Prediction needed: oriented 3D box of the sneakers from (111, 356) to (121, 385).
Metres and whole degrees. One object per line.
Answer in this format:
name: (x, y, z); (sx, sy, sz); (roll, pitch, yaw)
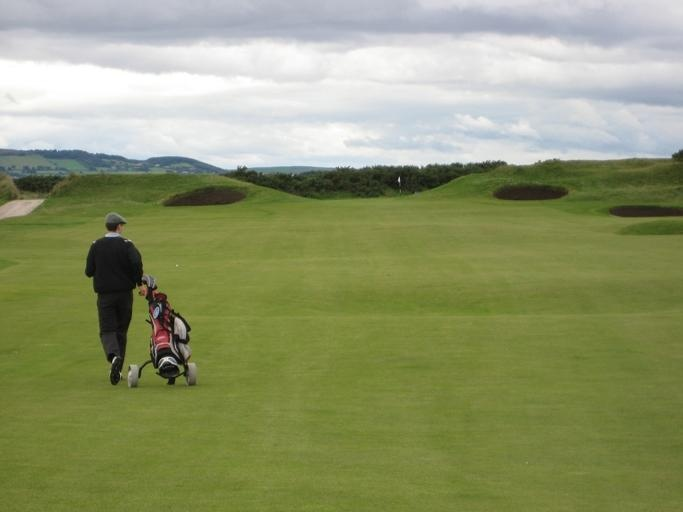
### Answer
sneakers: (-4.050, 2.029, 20.993); (0.186, 0.464, 0.234); (5, -7, -22)

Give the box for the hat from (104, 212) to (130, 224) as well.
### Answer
hat: (-4.180, -0.681, 21.799); (0.505, 0.188, 0.511); (0, 2, -2)

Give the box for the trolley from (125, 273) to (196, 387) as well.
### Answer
trolley: (-3.170, 1.380, 21.525); (1.215, 2.009, 1.088); (-2, -13, -23)
